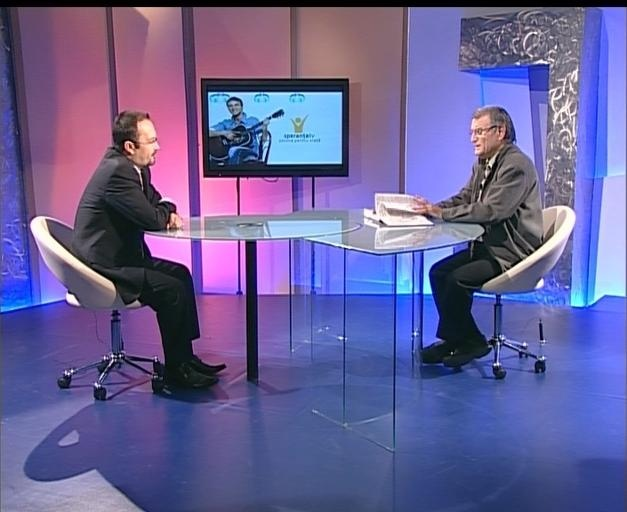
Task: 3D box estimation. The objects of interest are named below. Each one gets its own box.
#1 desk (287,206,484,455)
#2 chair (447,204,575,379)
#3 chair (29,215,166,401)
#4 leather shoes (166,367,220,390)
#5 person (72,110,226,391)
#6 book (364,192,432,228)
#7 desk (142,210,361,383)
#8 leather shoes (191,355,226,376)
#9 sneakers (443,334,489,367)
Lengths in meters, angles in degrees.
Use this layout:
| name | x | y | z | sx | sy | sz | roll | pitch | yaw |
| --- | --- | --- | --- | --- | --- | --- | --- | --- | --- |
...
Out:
| name | x | y | z | sx | sy | sz | roll | pitch | yaw |
| --- | --- | --- | --- | --- | --- | --- | --- | --- | --- |
| desk | 0.236 | 0.283 | 3.184 | 1.339 | 0.943 | 1.038 | 11 | 16 | 43 |
| chair | 1.312 | 0.235 | 3.659 | 0.820 | 1.315 | 1.040 | -1 | 4 | 0 |
| chair | -1.235 | 0.274 | 3.095 | 0.589 | 0.997 | 0.789 | -9 | 14 | -33 |
| leather shoes | -0.717 | 0.711 | 3.151 | 0.346 | 0.151 | 0.124 | 0 | 1 | 4 |
| person | -0.991 | -0.021 | 3.258 | 0.881 | 1.648 | 0.597 | -1 | 9 | -12 |
| book | 0.488 | -0.266 | 3.310 | 0.221 | 0.122 | 0.319 | 1 | 16 | -11 |
| desk | -0.303 | 0.130 | 3.229 | 1.028 | 0.832 | 1.093 | 1 | 9 | 10 |
| leather shoes | -0.651 | 0.668 | 3.281 | 0.254 | 0.131 | 0.087 | 1 | 13 | -12 |
| sneakers | 0.928 | 0.587 | 3.299 | 0.267 | 0.119 | 0.157 | -30 | -44 | 20 |
